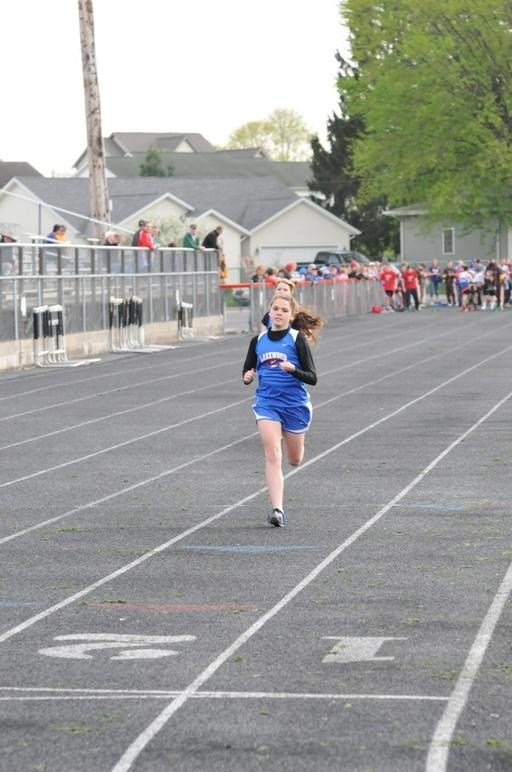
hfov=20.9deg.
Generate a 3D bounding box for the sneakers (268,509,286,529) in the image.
[{"bbox_3d":[0.130,0.887,9.181,0.066,0.157,0.073,-3,45,5],"label":"sneakers"}]

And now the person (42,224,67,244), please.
[{"bbox_3d":[-3.853,-2.858,26.397,0.359,0.400,1.610,-2,4,-8],"label":"person"}]

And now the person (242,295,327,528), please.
[{"bbox_3d":[0.166,0.164,9.378,0.532,1.523,0.768,-1,3,2],"label":"person"}]
